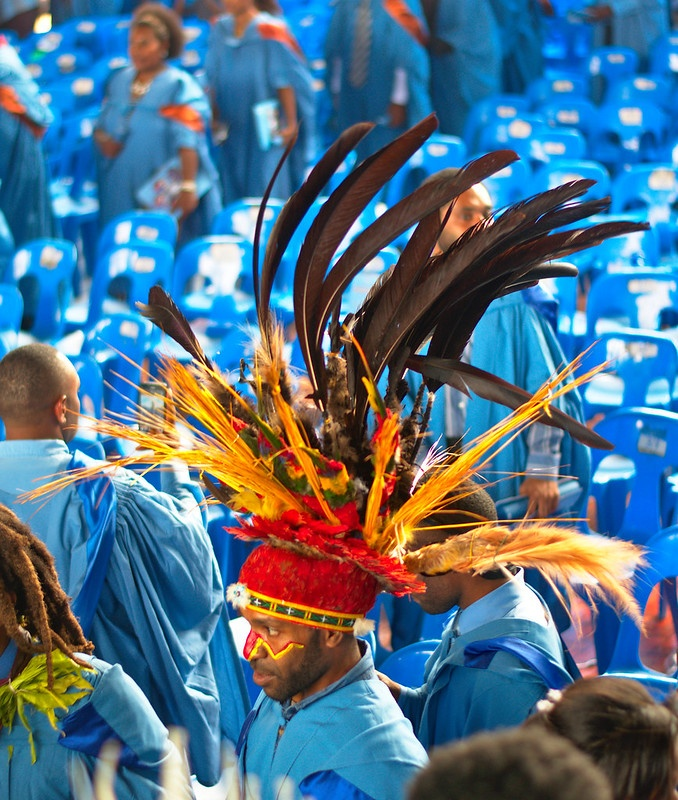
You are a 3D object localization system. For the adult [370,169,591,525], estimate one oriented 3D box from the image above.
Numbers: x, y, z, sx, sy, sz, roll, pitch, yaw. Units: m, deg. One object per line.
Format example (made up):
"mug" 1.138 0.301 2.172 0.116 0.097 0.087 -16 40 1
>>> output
"adult" 0.710 -0.109 7.739 0.563 1.704 0.318 -4 8 19

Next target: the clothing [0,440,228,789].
"clothing" -0.823 0.689 7.223 1.032 1.217 0.421 -14 14 -7

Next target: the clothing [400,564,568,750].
"clothing" 0.540 0.873 6.646 0.612 0.672 0.721 13 11 5

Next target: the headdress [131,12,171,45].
"headdress" -1.143 -2.233 11.125 0.150 0.098 0.188 20 11 32

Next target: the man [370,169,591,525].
"man" 0.728 -0.101 7.749 0.563 1.704 0.318 -4 8 19
